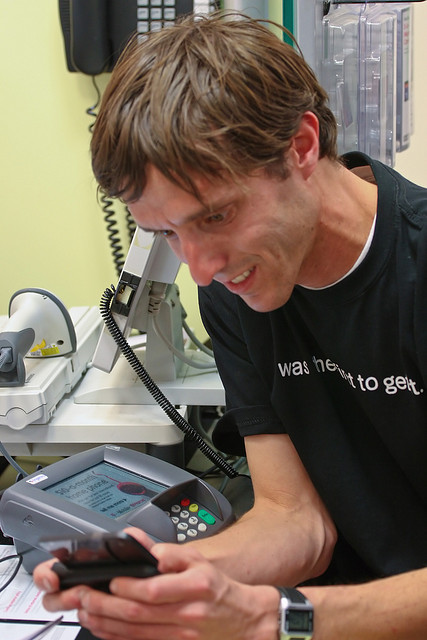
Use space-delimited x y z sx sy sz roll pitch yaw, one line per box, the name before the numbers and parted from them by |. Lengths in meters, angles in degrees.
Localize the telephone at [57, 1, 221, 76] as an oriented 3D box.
telephone | -0.225 -0.774 1.433 0.440 0.182 0.243 9 19 40
